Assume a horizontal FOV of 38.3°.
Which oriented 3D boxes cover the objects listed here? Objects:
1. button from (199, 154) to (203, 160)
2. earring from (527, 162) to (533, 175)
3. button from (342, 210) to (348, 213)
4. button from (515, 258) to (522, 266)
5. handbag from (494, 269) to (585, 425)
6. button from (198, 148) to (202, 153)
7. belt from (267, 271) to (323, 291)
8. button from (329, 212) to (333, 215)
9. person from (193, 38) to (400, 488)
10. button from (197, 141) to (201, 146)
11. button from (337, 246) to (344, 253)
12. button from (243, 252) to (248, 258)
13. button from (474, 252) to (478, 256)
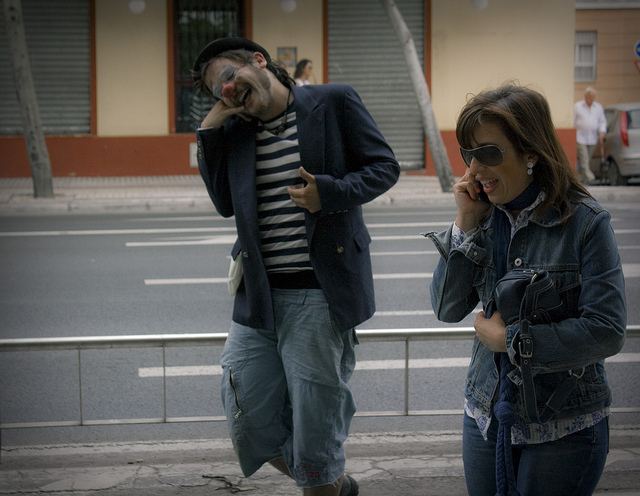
[{"bbox_3d":[-0.539,-0.410,4.196,0.015,0.021,0.019,-4,-2,8],"label":"button"},{"bbox_3d":[0.807,-0.304,3.554,0.019,0.047,0.014,-3,7,-3],"label":"earring"},{"bbox_3d":[0.112,-0.161,4.081,0.016,0.013,0.050,-1,8,16],"label":"button"},{"bbox_3d":[0.768,0.058,3.581,0.026,0.026,0.009,-2,7,11],"label":"button"},{"bbox_3d":[0.794,0.354,3.353,0.305,0.568,0.208,-6,-4,9],"label":"handbag"},{"bbox_3d":[-0.542,-0.441,4.187,0.015,0.016,0.016,-3,-8,5],"label":"button"},{"bbox_3d":[-0.113,0.149,4.110,0.238,0.085,0.026,-1,7,19],"label":"belt"},{"bbox_3d":[0.049,-0.150,4.030,0.015,0.011,0.035,-4,8,-2],"label":"button"},{"bbox_3d":[-0.097,0.070,4.191,0.865,2.040,0.427,-3,7,1],"label":"person"},{"bbox_3d":[-0.548,-0.472,4.196,0.013,0.018,0.005,-1,3,35],"label":"button"},{"bbox_3d":[0.088,0.009,4.063,0.027,0.029,0.007,0,6,-12],"label":"button"},{"bbox_3d":[-0.330,0.033,4.105,0.020,0.026,0.007,-3,7,1],"label":"button"},{"bbox_3d":[0.624,0.025,3.714,0.014,0.015,0.004,-2,-3,5],"label":"button"}]
